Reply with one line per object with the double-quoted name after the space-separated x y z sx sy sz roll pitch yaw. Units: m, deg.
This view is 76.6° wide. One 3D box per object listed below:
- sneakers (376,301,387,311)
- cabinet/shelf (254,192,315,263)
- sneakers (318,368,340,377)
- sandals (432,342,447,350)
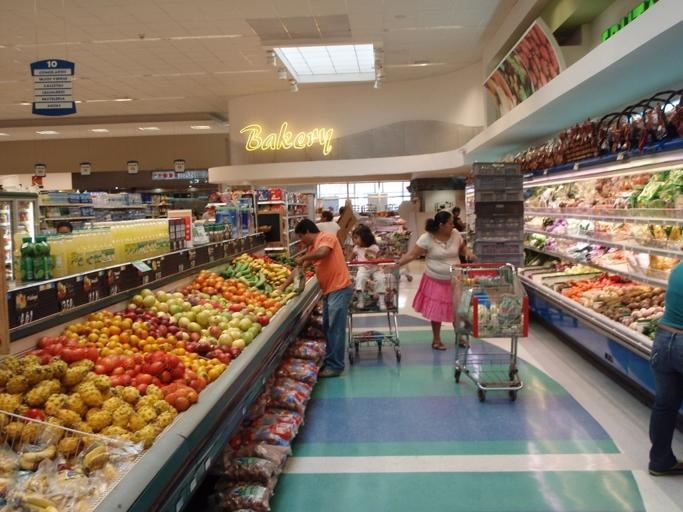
0.490 0.619 5.265 0.088 0.116 0.047 2 10 7 "sneakers"
-1.298 -0.726 10.365 0.724 1.169 3.141 0 6 4 "cabinet/shelf"
-0.142 1.320 4.884 0.232 0.092 0.089 3 -1 -5 "sneakers"
1.287 1.197 5.695 0.171 0.105 0.082 -1 1 24 "sandals"
